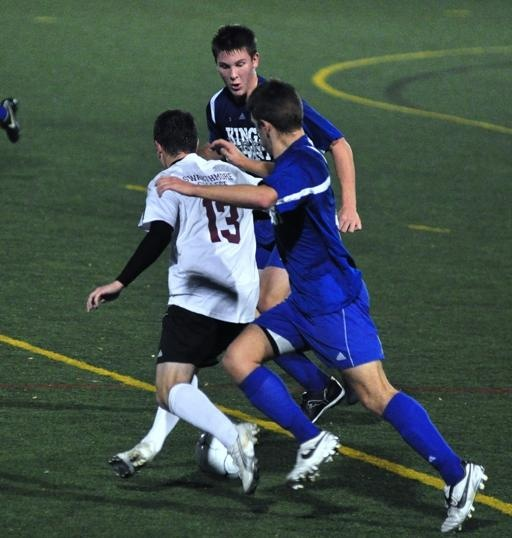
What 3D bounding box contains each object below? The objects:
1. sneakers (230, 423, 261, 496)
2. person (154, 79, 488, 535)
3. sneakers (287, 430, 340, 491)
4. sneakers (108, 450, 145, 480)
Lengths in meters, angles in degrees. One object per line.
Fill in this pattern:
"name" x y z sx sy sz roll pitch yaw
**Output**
"sneakers" -0.031 0.788 3.547 0.170 0.279 0.100 -10 23 6
"person" 0.229 0.108 3.443 0.688 1.471 1.351 -19 36 -26
"sneakers" 0.251 0.832 3.691 0.161 0.297 0.111 26 26 -33
"sneakers" -0.539 0.822 3.673 0.099 0.073 0.163 31 23 14
